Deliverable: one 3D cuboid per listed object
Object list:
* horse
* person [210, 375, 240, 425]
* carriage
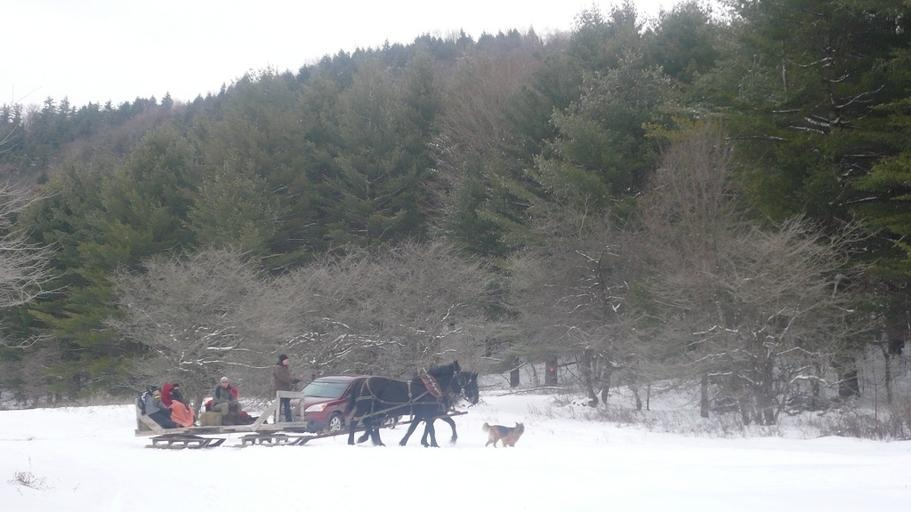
[{"bbox_3d":[-0.925,7.517,63.041,8.737,5.201,2.534,1,-4,-15],"label":"horse"},{"bbox_3d":[-11.508,7.267,62.162,1.371,2.335,0.701,-3,4,-11],"label":"person"},{"bbox_3d":[-7.073,7.776,63.275,16.874,4.459,6.073,1,6,-4],"label":"carriage"}]
